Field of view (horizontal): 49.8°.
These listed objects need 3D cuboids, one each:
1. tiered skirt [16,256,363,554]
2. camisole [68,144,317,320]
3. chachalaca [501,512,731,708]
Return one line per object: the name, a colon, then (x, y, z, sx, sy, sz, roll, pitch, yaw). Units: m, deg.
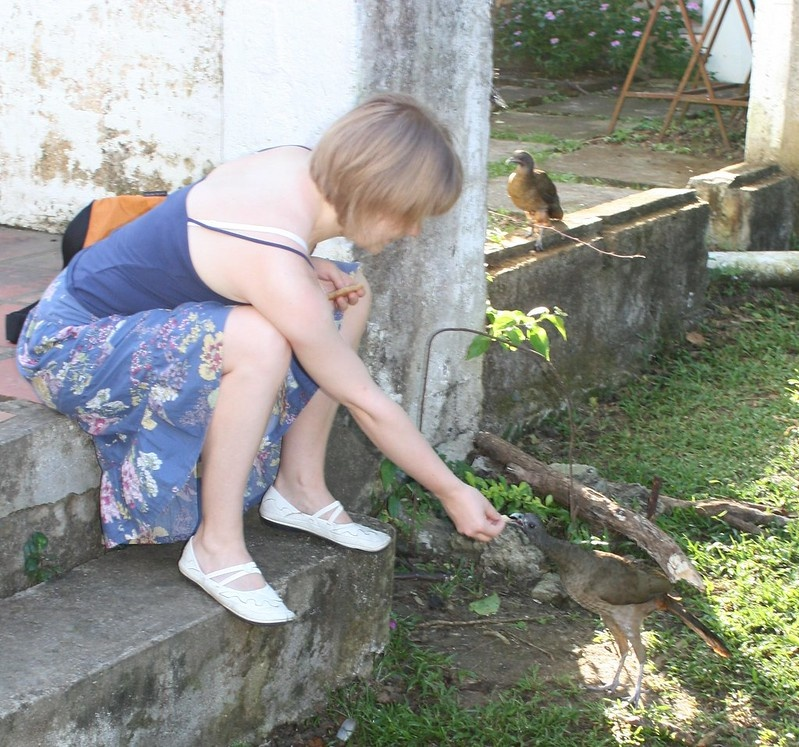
tiered skirt: (-0.618, 0.083, 2.470, 0.946, 0.612, 0.888, 38, 26, -8)
camisole: (-0.402, -0.446, 2.630, 1.243, 0.359, 0.527, 6, 20, 18)
chachalaca: (0.699, 0.733, 2.819, 0.332, 0.486, 0.610, -9, 17, -36)
